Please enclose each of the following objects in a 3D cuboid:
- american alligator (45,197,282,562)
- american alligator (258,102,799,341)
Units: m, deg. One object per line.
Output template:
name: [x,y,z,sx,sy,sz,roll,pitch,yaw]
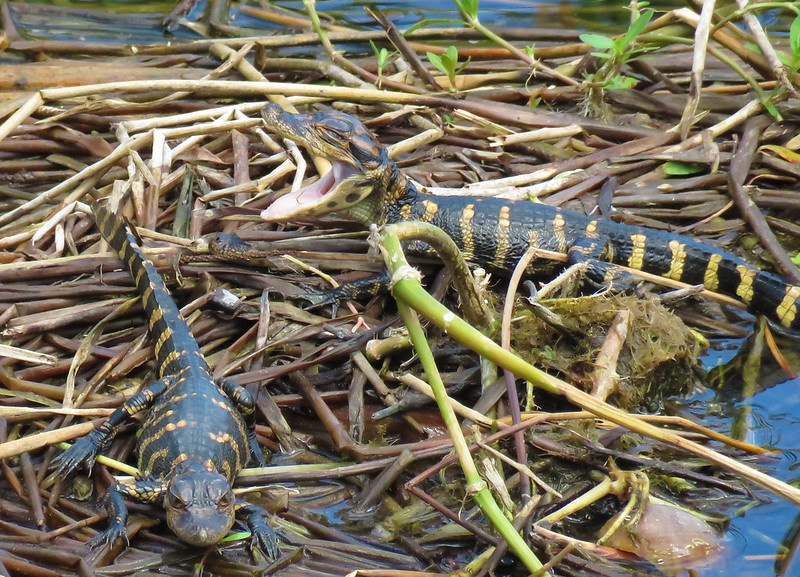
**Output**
american alligator: [-1.117,0.563,4.728,1.042,0.258,1.548,4,42,-19]
american alligator: [0.684,-0.377,5.484,3.677,1.281,0.489,11,102,0]
